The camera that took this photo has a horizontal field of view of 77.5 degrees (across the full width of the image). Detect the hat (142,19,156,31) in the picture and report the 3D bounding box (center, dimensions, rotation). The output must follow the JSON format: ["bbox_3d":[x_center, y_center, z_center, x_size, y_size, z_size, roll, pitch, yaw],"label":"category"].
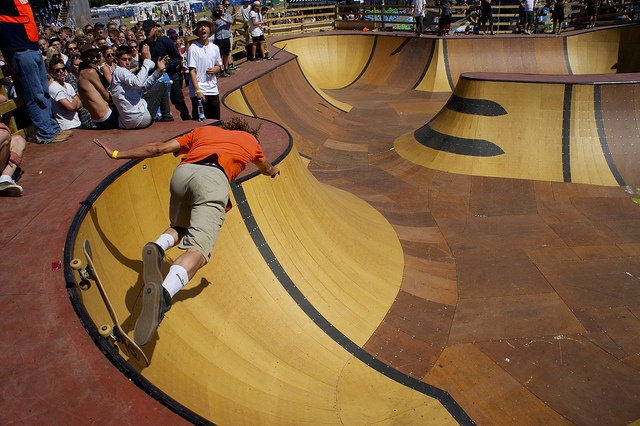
[{"bbox_3d":[-4.558,-4.925,10.541,0.267,0.199,0.377,-7,28,7],"label":"hat"}]

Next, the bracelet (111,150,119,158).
[{"bbox_3d":[-2.962,-0.840,5.704,0.100,0.089,0.125,0,16,-2],"label":"bracelet"}]

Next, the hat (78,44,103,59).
[{"bbox_3d":[-4.791,-3.331,8.204,0.315,0.230,0.264,-20,29,-31],"label":"hat"}]

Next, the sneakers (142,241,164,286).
[{"bbox_3d":[-2.089,0.603,5.034,0.199,0.608,0.253,-4,-1,5],"label":"sneakers"}]
